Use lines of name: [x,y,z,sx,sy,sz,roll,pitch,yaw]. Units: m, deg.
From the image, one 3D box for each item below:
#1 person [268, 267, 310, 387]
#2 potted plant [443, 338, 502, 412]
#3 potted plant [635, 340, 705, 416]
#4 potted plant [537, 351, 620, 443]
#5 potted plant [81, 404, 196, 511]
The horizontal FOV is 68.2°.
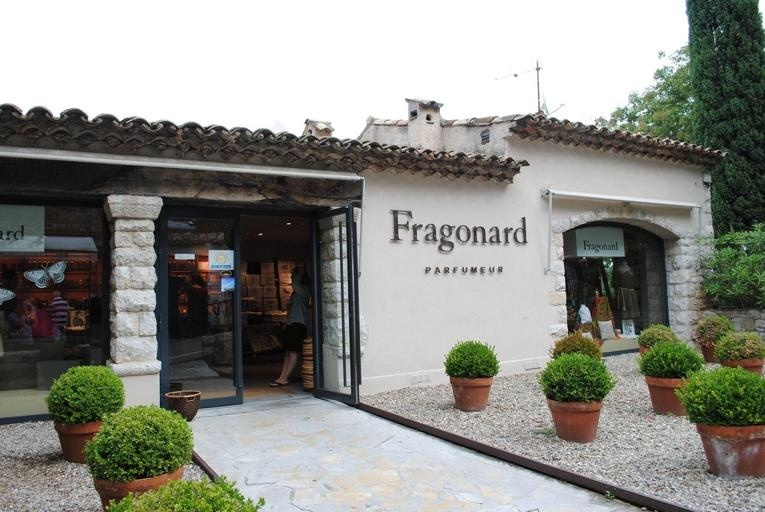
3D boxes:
person: [-1.596,1.233,9.886,0.661,2.043,0.816,-2,5,-7]
potted plant: [1.129,1.753,8.269,0.935,0.966,0.911,1,-12,-3]
potted plant: [3.883,1.644,7.789,0.889,0.885,0.872,7,-9,-20]
potted plant: [2.376,1.767,7.084,1.038,1.023,0.954,0,-11,-2]
potted plant: [-2.317,1.874,5.587,1.009,1.022,0.940,3,-8,-10]
